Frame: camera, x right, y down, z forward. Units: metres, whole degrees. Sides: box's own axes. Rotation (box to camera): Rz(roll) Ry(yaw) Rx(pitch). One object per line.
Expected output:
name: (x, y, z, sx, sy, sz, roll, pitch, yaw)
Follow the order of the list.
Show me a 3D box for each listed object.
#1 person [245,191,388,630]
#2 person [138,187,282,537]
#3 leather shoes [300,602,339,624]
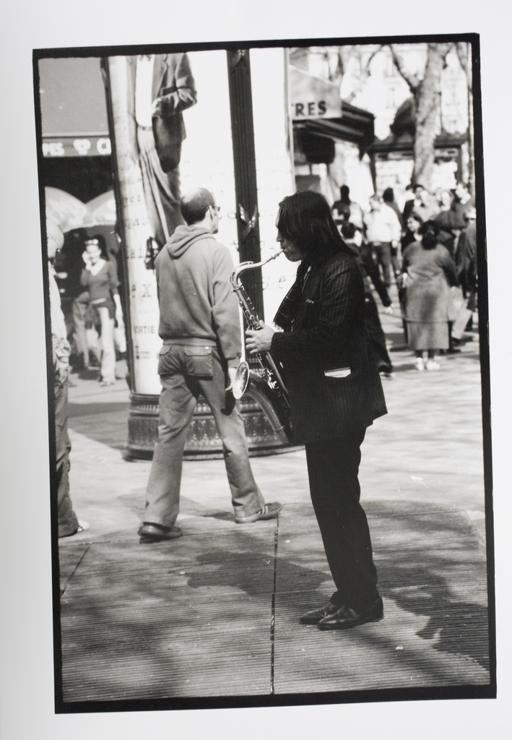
person: (0.242, 0.159, 4.621, 0.419, 1.654, 0.286, 2, 10, 32)
person: (-0.218, -0.015, 4.797, 0.519, 1.338, 0.450, -1, 1, -29)
leather shoes: (0.238, 0.924, 4.656, 0.161, 0.068, 0.061, -3, -2, -7)
